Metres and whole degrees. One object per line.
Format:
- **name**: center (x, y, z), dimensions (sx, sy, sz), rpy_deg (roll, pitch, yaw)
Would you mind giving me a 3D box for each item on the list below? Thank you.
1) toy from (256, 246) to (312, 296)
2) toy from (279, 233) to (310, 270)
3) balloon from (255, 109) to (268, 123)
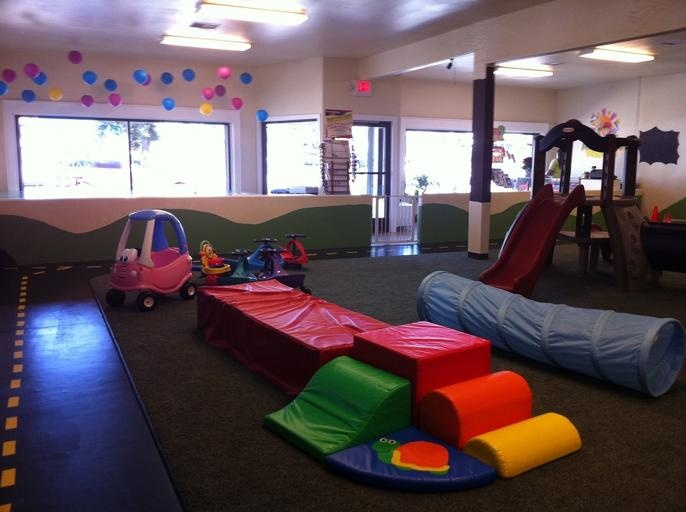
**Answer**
- **toy**: center (-0.734, 0.147, 5.821), dimensions (0.396, 0.382, 0.759), rpy_deg (-3, 14, -20)
- **toy**: center (-0.763, -0.053, 7.394), dimensions (0.374, 0.513, 0.539), rpy_deg (-3, 5, -34)
- **balloon**: center (-1.699, -2.955, 10.208), dimensions (0.264, 0.311, 0.258), rpy_deg (-16, 26, -36)
